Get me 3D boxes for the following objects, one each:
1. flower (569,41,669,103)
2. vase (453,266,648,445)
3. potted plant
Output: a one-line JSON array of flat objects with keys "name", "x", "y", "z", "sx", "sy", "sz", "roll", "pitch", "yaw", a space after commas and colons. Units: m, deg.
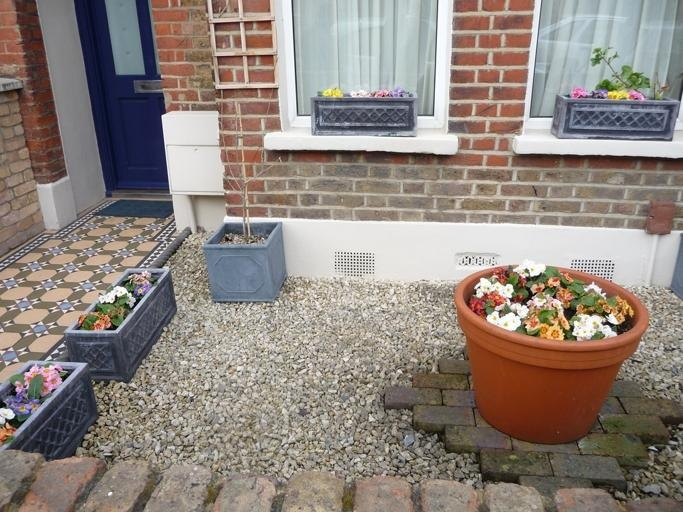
[{"name": "flower", "x": 2.257, "y": -1.419, "z": 3.646, "sx": 0.764, "sy": 0.329, "sz": 0.547, "roll": 9, "pitch": 42, "yaw": 11}, {"name": "vase", "x": 1.124, "y": 0.628, "z": 2.640, "sx": 0.944, "sy": 0.654, "sz": 0.927, "roll": 12, "pitch": 28, "yaw": 27}, {"name": "potted plant", "x": -0.831, "y": -0.385, "z": 3.824, "sx": 0.634, "sy": 1.468, "sz": 0.731, "roll": -3, "pitch": 26, "yaw": -3}]
